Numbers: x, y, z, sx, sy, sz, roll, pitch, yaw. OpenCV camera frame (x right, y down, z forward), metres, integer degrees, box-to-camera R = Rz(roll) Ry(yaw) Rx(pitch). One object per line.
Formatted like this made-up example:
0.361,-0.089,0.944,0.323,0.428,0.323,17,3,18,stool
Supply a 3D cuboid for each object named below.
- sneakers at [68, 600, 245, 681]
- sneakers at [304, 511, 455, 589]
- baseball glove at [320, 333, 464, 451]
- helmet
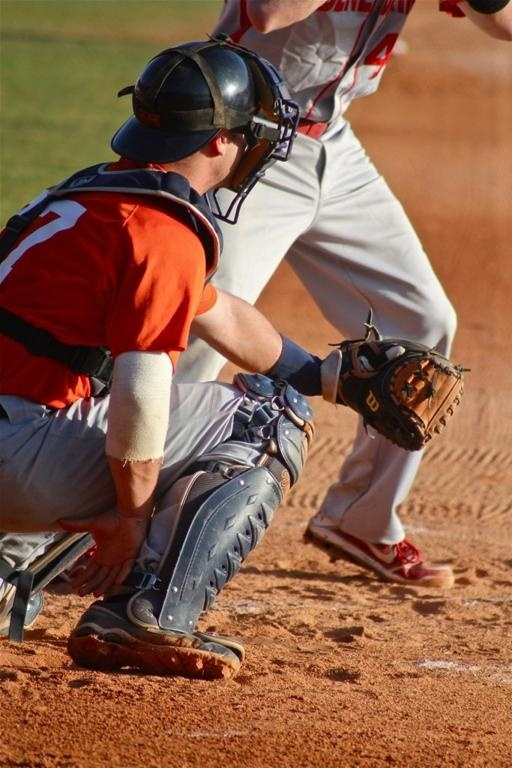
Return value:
-0.210,0.503,1.615,0.413,0.159,0.141,7,-17,-5,sneakers
0.435,0.587,2.816,0.560,0.194,0.178,21,-1,4,sneakers
0.333,-0.007,2.059,0.329,0.189,0.423,7,-20,44,baseball glove
-0.125,-0.535,1.770,0.431,0.349,0.307,-23,34,-38,helmet
